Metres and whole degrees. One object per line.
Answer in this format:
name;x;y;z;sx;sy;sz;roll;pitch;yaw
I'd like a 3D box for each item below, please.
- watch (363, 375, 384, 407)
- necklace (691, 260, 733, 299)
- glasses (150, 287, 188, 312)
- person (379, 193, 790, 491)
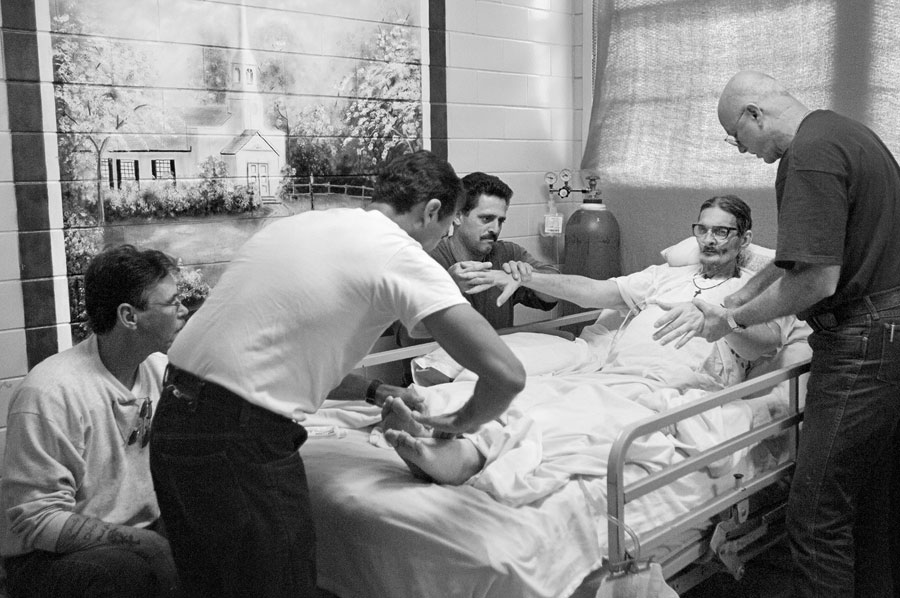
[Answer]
watch;-0.285;0.344;2.450;0.057;0.092;0.087;8;7;16
necklace;1.368;-0.112;3.435;0.187;0.099;0.108;-27;36;-37
glasses;-1.050;-0.012;2.407;0.085;0.092;0.073;10;8;-44
person;0.703;0.116;2.851;1.071;0.852;1.775;4;9;44
